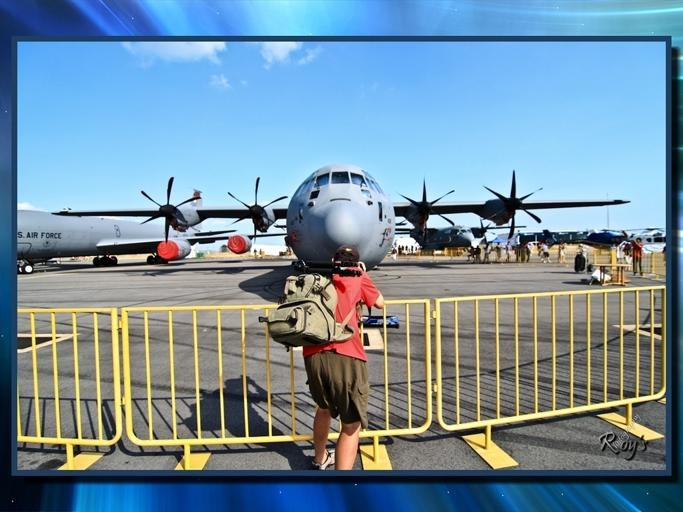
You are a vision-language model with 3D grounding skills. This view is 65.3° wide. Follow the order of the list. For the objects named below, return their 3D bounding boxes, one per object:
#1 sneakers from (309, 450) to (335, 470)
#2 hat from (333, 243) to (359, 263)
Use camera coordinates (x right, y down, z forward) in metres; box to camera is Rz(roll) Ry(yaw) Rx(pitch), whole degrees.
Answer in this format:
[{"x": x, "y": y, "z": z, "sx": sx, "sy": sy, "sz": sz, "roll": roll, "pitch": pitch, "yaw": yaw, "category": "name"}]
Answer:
[{"x": -0.227, "y": 2.498, "z": 6.427, "sx": 0.137, "sy": 0.147, "sz": 0.352, "roll": 5, "pitch": 17, "yaw": 23, "category": "sneakers"}, {"x": 0.071, "y": 0.000, "z": 6.528, "sx": 0.212, "sy": 0.194, "sz": 0.265, "roll": -1, "pitch": -22, "yaw": 13, "category": "hat"}]
